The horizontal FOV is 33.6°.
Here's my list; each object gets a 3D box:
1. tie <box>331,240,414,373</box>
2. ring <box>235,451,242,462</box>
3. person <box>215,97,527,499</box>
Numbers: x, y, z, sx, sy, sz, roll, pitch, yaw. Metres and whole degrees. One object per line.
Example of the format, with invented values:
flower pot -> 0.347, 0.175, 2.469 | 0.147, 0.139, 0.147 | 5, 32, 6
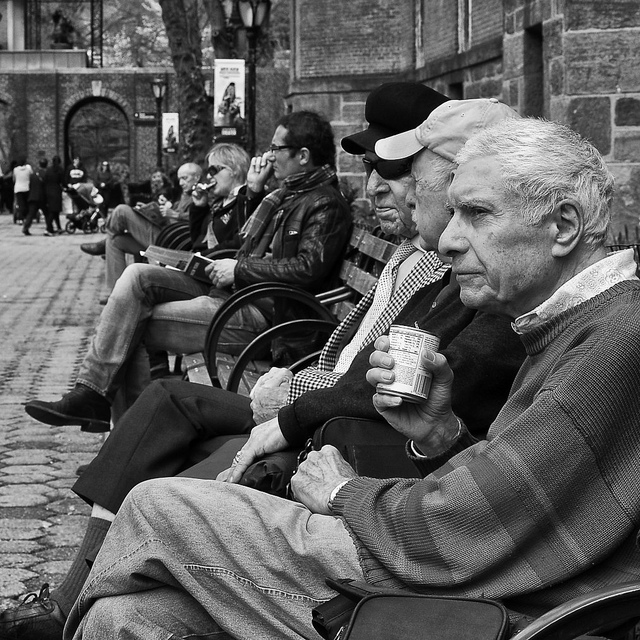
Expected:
tie -> 0.180, -0.059, 3.720 | 0.279, 0.245, 0.590 | 5, 6, 5
ring -> -0.234, 0.394, 3.034 | 0.016, 0.021, 0.008 | 2, -11, 35
person -> 0.119, -0.069, 3.455 | 0.832, 1.251, 1.909 | 1, 0, -5
